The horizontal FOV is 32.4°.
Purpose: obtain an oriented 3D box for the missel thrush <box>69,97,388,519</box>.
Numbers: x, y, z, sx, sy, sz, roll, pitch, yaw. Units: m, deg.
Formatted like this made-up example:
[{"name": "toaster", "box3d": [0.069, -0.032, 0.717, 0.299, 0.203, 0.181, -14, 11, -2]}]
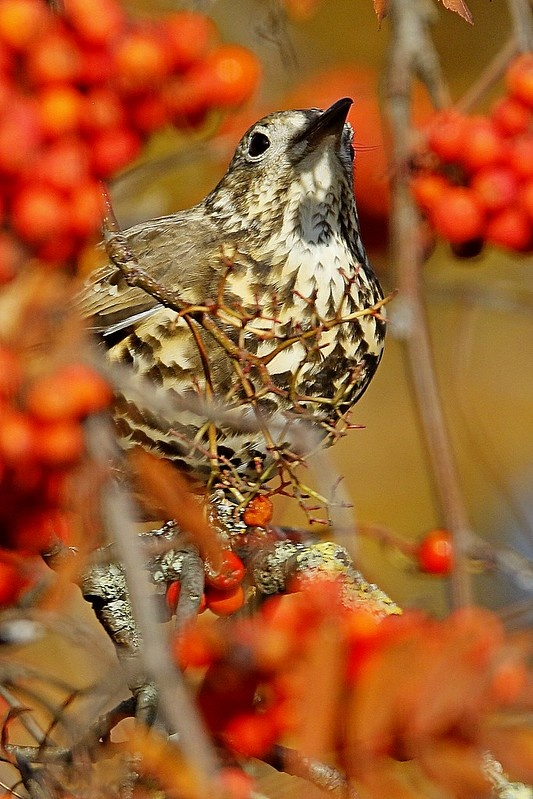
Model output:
[{"name": "missel thrush", "box3d": [-0.033, -0.088, 1.037, 0.345, 0.508, 0.350, -1, 83, -31]}]
